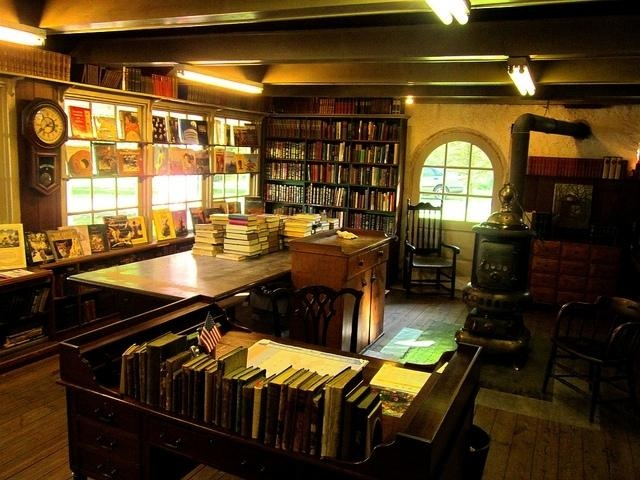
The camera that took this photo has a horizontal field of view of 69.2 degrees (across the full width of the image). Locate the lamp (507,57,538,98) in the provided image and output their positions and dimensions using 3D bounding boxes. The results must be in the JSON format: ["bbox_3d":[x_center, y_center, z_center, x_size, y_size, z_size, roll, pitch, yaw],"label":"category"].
[{"bbox_3d":[2.068,-1.579,4.707,0.251,0.168,1.451,2,5,26],"label":"lamp"}]
